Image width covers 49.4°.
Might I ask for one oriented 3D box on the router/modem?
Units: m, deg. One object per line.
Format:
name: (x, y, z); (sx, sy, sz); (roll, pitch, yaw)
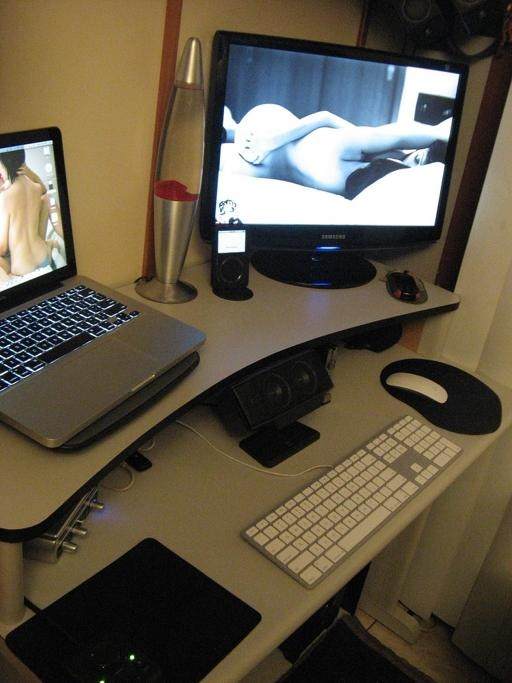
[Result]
router/modem: (-0.236, 0.216, 0.686); (0.070, 0.024, 0.106); (12, 20, 4)

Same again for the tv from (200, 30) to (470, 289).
tv: (0.150, -0.358, 1.149); (0.516, 0.430, 0.192); (-1, 25, -14)
